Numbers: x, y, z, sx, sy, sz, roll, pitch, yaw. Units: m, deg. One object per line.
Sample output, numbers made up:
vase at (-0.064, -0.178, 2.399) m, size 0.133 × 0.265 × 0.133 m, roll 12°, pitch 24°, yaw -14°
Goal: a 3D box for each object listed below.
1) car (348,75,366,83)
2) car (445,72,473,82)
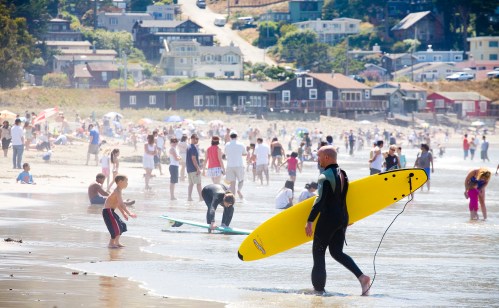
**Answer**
car at (20.602, -14.567, 203.729) m, size 2.879 × 1.257 × 1.817 m, roll 3°, pitch 0°, yaw -13°
car at (41.325, -15.020, 210.223) m, size 4.424 × 1.458 × 2.082 m, roll 1°, pitch 2°, yaw -9°
